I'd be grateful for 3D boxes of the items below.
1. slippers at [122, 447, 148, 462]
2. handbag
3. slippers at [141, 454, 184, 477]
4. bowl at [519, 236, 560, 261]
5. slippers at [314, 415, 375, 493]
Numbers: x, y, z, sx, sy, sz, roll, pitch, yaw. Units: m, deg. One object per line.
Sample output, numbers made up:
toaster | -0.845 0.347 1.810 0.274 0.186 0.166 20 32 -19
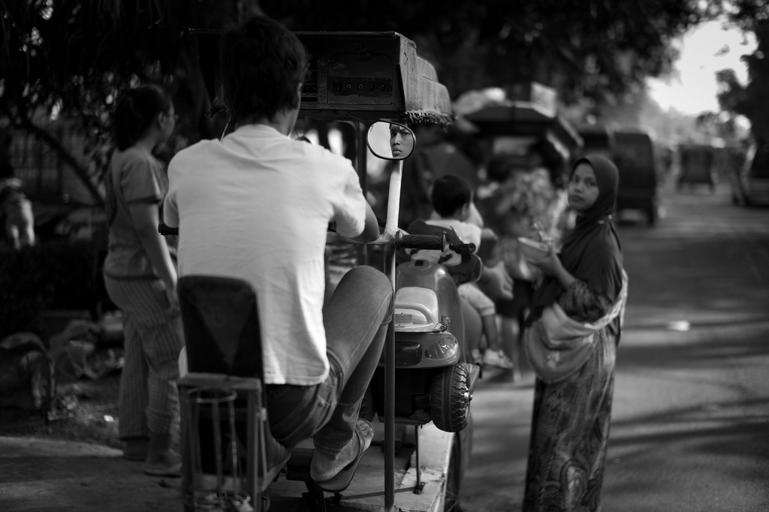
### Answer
slippers | -1.751 1.382 7.423 0.105 0.066 0.110 2 -1 -14
handbag | 1.209 0.577 7.514 0.448 0.488 0.514 23 16 25
slippers | -1.523 1.430 7.245 0.284 0.081 0.320 4 7 4
bowl | 1.051 -0.034 7.381 0.173 0.097 0.181 18 -10 3
slippers | -0.245 1.178 6.585 0.199 0.247 0.595 11 29 11
